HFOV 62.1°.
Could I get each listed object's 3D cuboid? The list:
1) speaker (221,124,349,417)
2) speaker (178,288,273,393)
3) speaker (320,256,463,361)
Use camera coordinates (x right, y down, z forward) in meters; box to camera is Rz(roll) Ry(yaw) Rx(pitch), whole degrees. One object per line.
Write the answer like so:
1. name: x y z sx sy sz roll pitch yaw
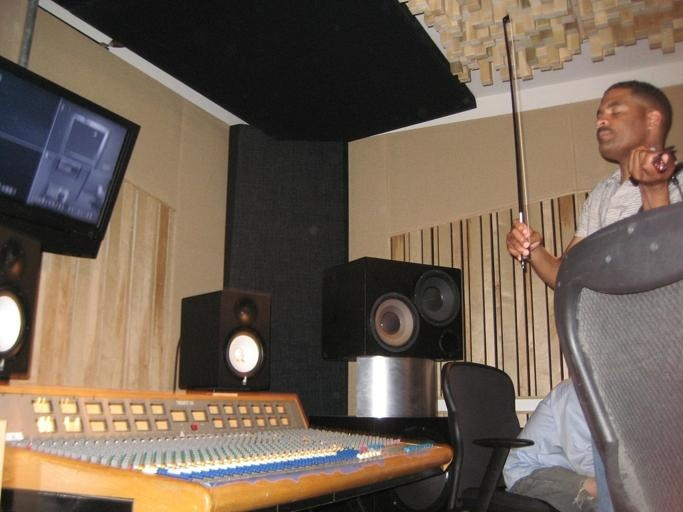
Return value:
1. speaker: -0.360 -0.058 3.850 0.694 2.103 0.507 4 -2 -22
2. speaker: -0.571 0.389 2.530 0.520 0.559 0.304 -17 -21 39
3. speaker: 0.245 0.325 3.216 0.641 0.614 0.585 7 -4 -22
